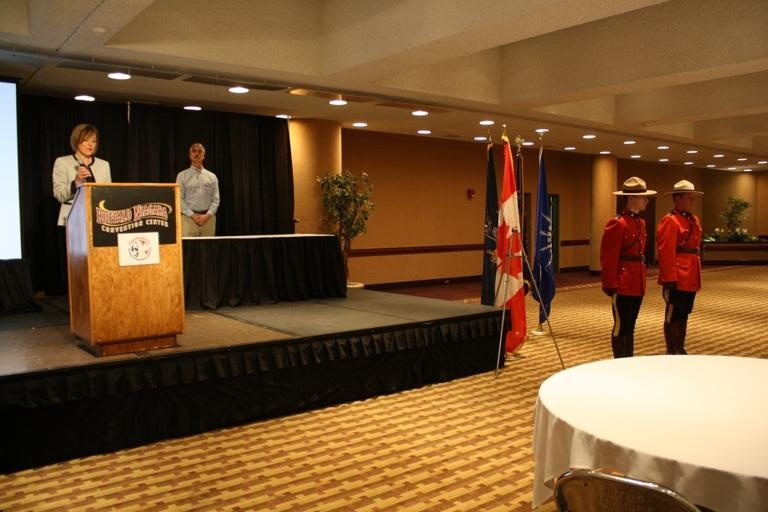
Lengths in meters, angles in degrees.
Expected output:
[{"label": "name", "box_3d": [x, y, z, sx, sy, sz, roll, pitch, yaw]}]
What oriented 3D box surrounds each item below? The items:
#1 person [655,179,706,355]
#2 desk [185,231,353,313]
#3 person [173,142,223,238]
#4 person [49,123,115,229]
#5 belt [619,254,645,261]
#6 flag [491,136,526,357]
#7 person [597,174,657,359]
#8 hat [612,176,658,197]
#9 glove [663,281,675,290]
[{"label": "person", "box_3d": [3.610, 0.209, 6.392, 0.492, 2.237, 1.014, 6, 11, 31]}, {"label": "desk", "box_3d": [-2.135, 0.081, 7.399, 2.709, 1.019, 0.770, 5, 22, 6]}, {"label": "person", "box_3d": [-2.778, -0.993, 7.785, 0.562, 1.361, 0.484, -3, 10, -21]}, {"label": "person", "box_3d": [-3.876, -1.020, 6.673, 0.627, 1.402, 1.905, -6, 11, -32]}, {"label": "belt", "box_3d": [2.760, 0.017, 5.777, 0.280, 0.081, 0.065, 0, 9, -5]}, {"label": "flag", "box_3d": [1.595, -0.102, 6.510, 0.413, 2.733, 0.340, 6, 11, 34]}, {"label": "person", "box_3d": [2.699, 0.211, 5.888, 0.494, 2.175, 0.798, 5, 10, 27]}, {"label": "hat", "box_3d": [2.812, -0.767, 5.794, 0.294, 0.201, 0.438, 5, 10, 26]}, {"label": "glove", "box_3d": [3.345, 0.343, 6.074, 0.084, 0.061, 0.086, 0, 3, 30]}]
